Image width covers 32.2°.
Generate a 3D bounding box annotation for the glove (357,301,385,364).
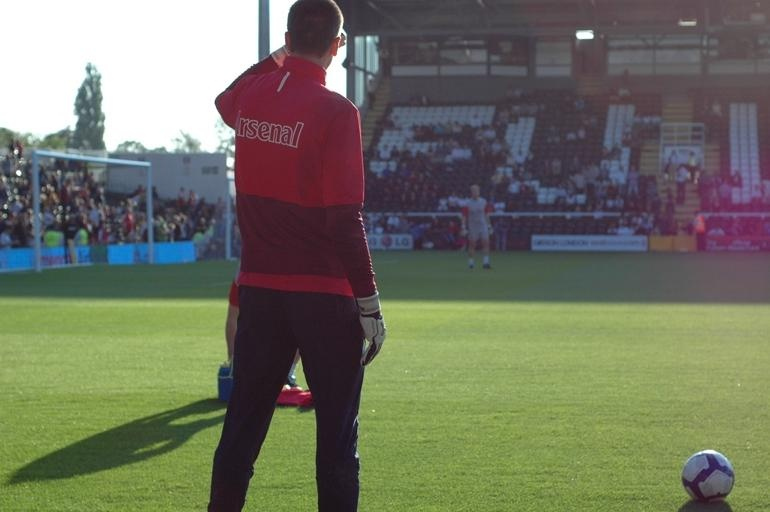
[{"bbox_3d":[-0.316,1.637,29.263,0.547,1.251,0.789,-3,12,-9],"label":"glove"}]
